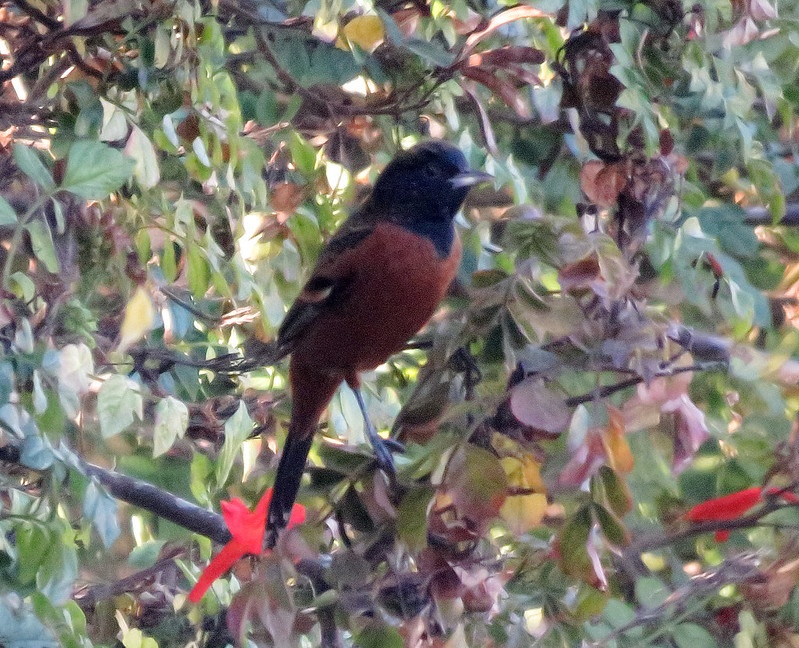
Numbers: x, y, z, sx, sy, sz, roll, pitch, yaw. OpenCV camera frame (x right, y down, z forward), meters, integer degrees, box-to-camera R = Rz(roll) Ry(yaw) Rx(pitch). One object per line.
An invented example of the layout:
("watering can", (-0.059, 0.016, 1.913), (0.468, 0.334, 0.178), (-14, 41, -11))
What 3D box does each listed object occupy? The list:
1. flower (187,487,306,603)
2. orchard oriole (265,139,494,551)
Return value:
("flower", (-0.133, 0.179, 1.158), (0.042, 0.106, 0.072), (36, -7, 23))
("orchard oriole", (-0.044, 0.007, 1.134), (0.184, 0.333, 0.097), (-9, 27, -33))
